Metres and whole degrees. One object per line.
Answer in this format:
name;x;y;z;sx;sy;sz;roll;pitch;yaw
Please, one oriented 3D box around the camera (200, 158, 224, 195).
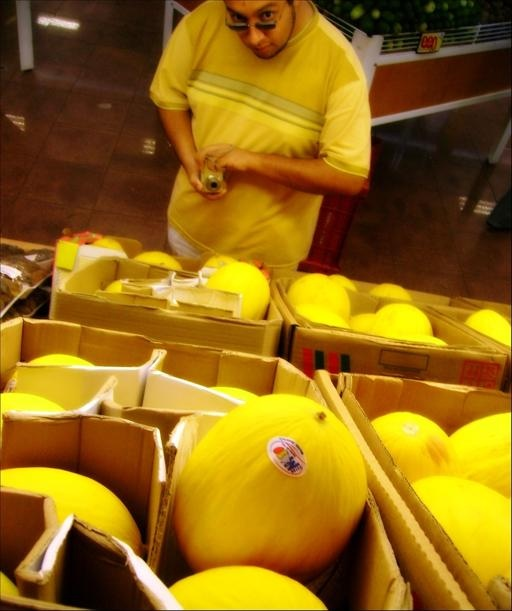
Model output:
camera;-0.177;-0.512;1.842;0.079;0.129;0.047;-7;16;4
